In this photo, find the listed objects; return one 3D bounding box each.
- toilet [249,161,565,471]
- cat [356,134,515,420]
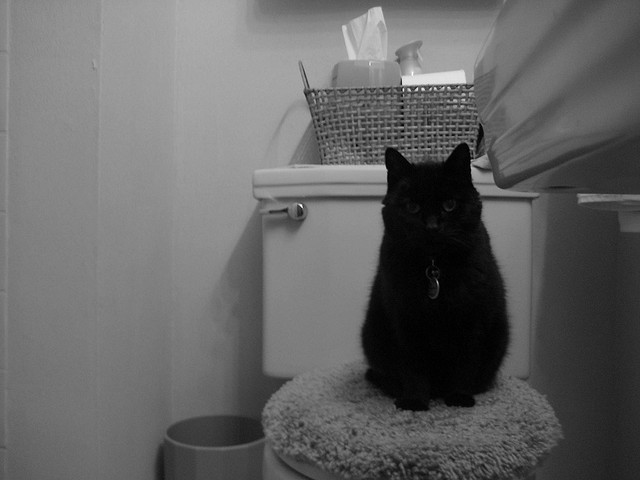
[{"bbox_3d":[0.106,0.111,1.262,0.437,0.632,0.616,-1,-7,1],"label":"toilet"},{"bbox_3d":[0.208,0.072,1.176,0.230,0.441,0.367,1,2,8],"label":"cat"}]
